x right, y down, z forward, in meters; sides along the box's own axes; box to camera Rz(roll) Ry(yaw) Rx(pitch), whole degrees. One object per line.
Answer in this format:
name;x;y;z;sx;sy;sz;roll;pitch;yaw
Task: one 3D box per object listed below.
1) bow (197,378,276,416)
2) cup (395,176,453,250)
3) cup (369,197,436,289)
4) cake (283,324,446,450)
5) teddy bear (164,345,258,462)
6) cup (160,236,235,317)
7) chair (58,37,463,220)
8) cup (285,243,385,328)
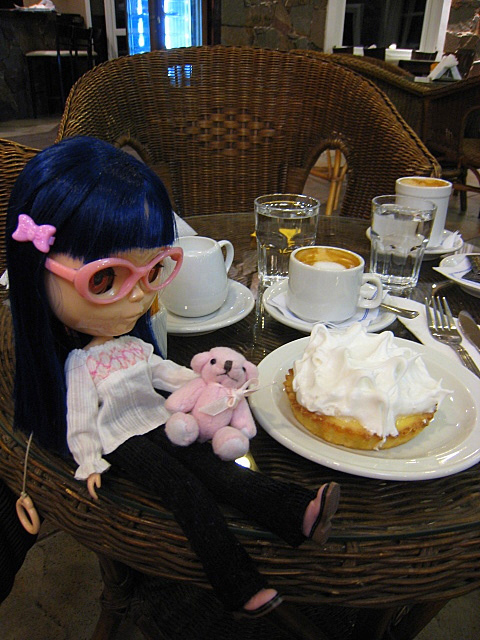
bow;-0.006;0.054;0.421;0.054;0.024;0.048;-15;25;-42
cup;0.331;-0.183;0.875;0.081;0.108;0.119;2;24;4
cup;0.262;-0.125;0.813;0.096;0.129;0.095;3;18;-1
cake;0.111;0.059;0.461;0.134;0.062;0.120;24;34;33
teddy bear;-0.024;0.074;0.416;0.078;0.078;0.084;6;28;3
cup;-0.048;-0.062;0.664;0.081;0.096;0.116;21;35;33
chair;0.079;-0.483;1.597;0.880;0.320;0.694;1;-3;8
cup;0.128;-0.043;0.656;0.127;0.076;0.088;16;31;24
